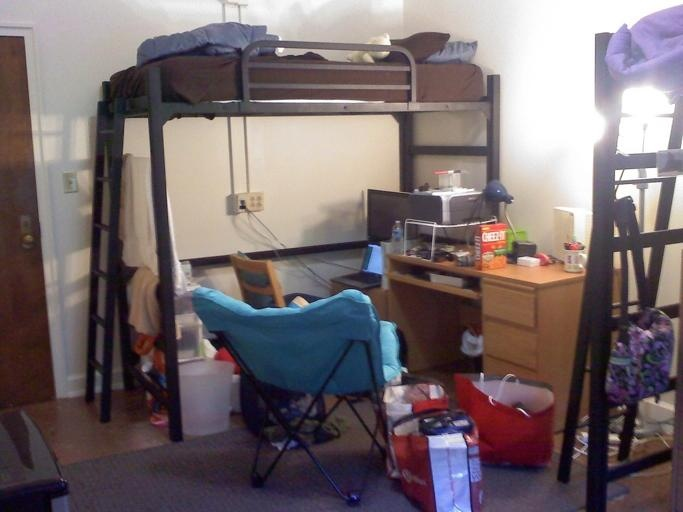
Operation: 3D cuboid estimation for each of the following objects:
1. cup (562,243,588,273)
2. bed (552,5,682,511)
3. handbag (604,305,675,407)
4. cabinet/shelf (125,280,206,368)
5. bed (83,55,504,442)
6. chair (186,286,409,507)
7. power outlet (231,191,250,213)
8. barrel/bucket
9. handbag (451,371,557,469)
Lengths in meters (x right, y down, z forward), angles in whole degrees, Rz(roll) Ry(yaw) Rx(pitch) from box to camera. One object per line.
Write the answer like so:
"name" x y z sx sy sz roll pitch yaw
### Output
"cup" 1.395 0.020 3.536 0.112 0.174 0.172 0 0 10
"bed" 1.311 0.087 2.681 0.501 2.263 0.842 7 17 35
"handbag" 1.343 0.463 2.605 0.208 0.366 0.345 9 19 39
"cabinet/shelf" -1.128 0.402 3.914 0.604 0.758 0.531 -1 1 -26
"bed" -0.355 -0.039 3.811 2.447 2.371 0.884 -2 2 -34
"chair" -0.151 0.591 3.351 0.913 1.219 1.128 0 9 21
"power outlet" -0.776 -0.393 4.438 0.129 0.178 0.125 -2 8 -20
"barrel/bucket" -0.831 0.896 3.695 0.372 0.452 0.389 0 3 0
"handbag" 0.834 0.905 3.219 0.554 0.587 0.397 0 3 6
